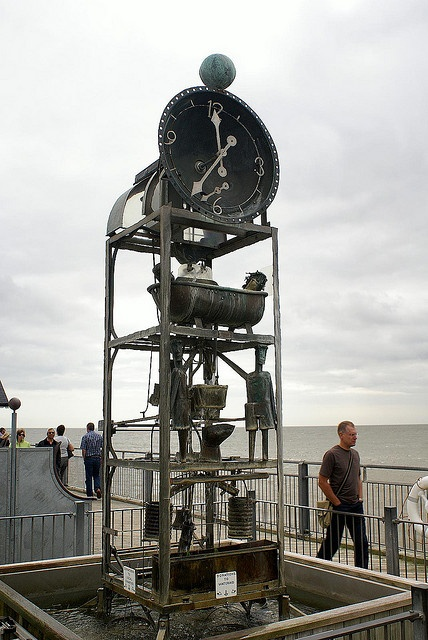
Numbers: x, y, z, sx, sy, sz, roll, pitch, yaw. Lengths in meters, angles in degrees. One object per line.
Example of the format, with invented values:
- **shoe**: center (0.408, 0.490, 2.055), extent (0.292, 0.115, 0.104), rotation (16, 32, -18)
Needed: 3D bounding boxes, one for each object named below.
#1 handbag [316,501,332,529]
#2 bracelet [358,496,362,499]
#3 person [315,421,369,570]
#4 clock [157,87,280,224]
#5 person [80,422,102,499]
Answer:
- **handbag**: center (1.347, 2.388, 8.604), extent (0.176, 0.365, 0.584), rotation (-2, -10, 7)
- **bracelet**: center (1.856, 2.241, 8.925), extent (0.032, 0.060, 0.032), rotation (6, -10, -18)
- **person**: center (1.539, 2.099, 8.632), extent (0.614, 1.689, 1.202), rotation (-2, -10, 10)
- **clock**: center (0.043, -1.530, 6.557), extent (1.394, 1.359, 0.143), rotation (6, -12, -36)
- **person**: center (-2.920, 3.335, 16.641), extent (0.465, 1.759, 1.336), rotation (2, -10, -11)
